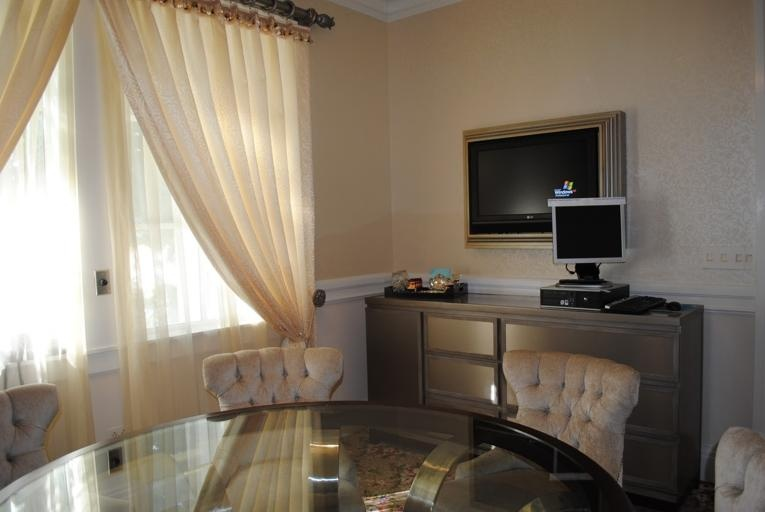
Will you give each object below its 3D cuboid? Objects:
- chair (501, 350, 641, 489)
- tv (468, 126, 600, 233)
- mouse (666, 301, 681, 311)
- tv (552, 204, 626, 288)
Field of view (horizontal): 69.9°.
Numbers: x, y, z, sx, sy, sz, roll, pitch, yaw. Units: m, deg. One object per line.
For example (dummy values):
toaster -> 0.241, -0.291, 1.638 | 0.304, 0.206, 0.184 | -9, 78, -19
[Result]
chair -> 0.932, 0.673, 2.793 | 0.637, 0.863, 0.603 | -2, -5, 38
tv -> 1.098, -0.544, 3.845 | 0.788, 0.600, 0.084 | 0, 3, 33
mouse -> 1.760, 0.302, 3.309 | 0.060, 0.030, 0.061 | -3, 8, -12
tv -> 1.307, -0.086, 3.505 | 0.452, 0.583, 0.191 | -1, -24, 18
